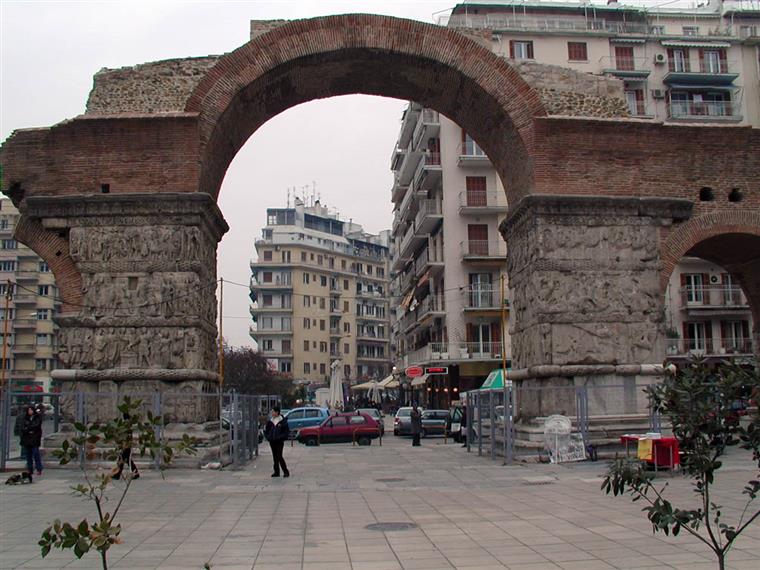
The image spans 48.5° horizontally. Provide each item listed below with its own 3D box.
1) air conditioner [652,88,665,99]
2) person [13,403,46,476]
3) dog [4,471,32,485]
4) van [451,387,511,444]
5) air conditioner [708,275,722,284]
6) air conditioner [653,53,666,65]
[{"bbox_3d":[17.104,-11.701,51.914,0.650,0.617,0.619,-2,-2,-3],"label":"air conditioner"},{"bbox_3d":[-8.852,3.891,21.263,0.570,1.782,0.852,3,-12,-22],"label":"person"},{"bbox_3d":[-8.599,4.626,20.016,0.639,0.286,0.638,7,-14,-35],"label":"dog"},{"bbox_3d":[3.802,4.572,29.780,1.868,2.070,3.527,0,-12,-1],"label":"van"},{"bbox_3d":[19.910,-0.246,49.981,0.852,0.586,0.239,1,-11,-11],"label":"air conditioner"},{"bbox_3d":[17.401,-14.112,52.543,0.621,0.656,0.659,0,-6,1],"label":"air conditioner"}]
